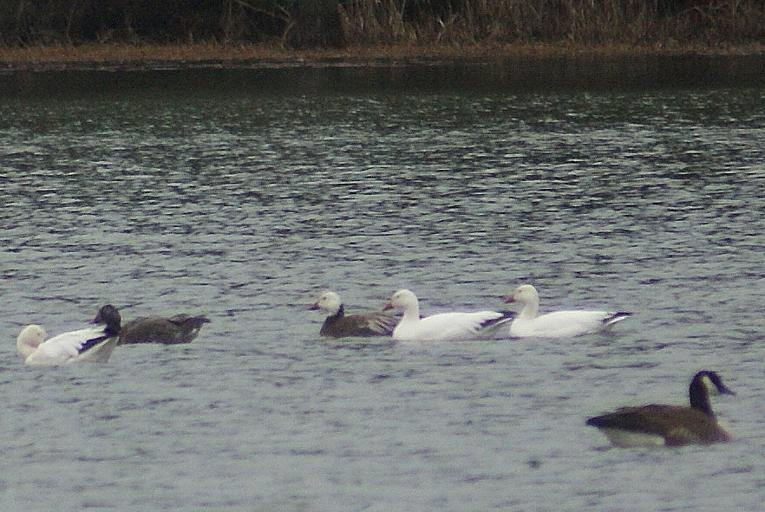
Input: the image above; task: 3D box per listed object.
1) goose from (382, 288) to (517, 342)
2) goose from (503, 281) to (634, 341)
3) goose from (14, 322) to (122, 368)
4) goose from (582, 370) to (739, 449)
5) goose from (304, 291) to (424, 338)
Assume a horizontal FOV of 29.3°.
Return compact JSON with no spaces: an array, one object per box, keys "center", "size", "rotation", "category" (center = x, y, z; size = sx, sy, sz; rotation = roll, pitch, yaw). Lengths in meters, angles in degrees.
[{"center":[1.633,1.499,35.128],"size":[3.823,1.165,1.055],"rotation":[1,-1,6],"category":"goose"},{"center":[4.849,1.440,35.032],"size":[3.676,1.132,1.100],"rotation":[0,1,7],"category":"goose"},{"center":[-7.375,2.060,34.082],"size":[2.303,0.881,0.608],"rotation":[-1,9,-8],"category":"goose"},{"center":[6.150,3.387,31.759],"size":[2.825,1.390,0.861],"rotation":[0,9,0],"category":"goose"},{"center":[-0.792,1.482,34.958],"size":[3.475,1.197,1.576],"rotation":[0,1,32],"category":"goose"}]
